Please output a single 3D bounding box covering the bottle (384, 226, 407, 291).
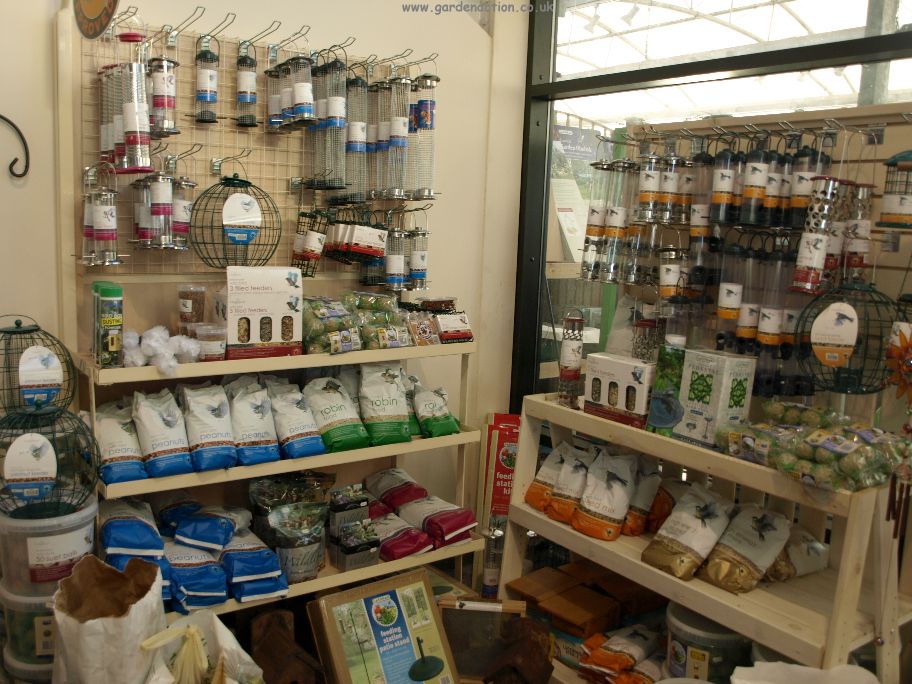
[{"bbox_3d":[-0.291,-0.397,3.388,0.118,0.283,0.111,2,10,0],"label":"bottle"}]

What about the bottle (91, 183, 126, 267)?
[{"bbox_3d":[-1.404,-0.452,2.798,0.136,0.280,0.127,0,11,0],"label":"bottle"}]

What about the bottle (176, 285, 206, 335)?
[{"bbox_3d":[-1.082,-0.146,2.933,0.133,0.153,0.130,0,2,31],"label":"bottle"}]

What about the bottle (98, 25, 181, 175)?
[{"bbox_3d":[-1.222,-0.956,2.801,0.345,0.573,0.405,-9,16,-29],"label":"bottle"}]

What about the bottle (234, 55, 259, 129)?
[{"bbox_3d":[-0.920,-1.115,3.110,0.117,0.269,0.105,4,20,-6],"label":"bottle"}]

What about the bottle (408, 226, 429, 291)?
[{"bbox_3d":[-0.188,-0.411,3.469,0.093,0.281,0.195,-2,14,-3],"label":"bottle"}]

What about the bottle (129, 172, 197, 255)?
[{"bbox_3d":[-1.177,-0.530,2.867,0.309,0.300,0.291,12,13,39],"label":"bottle"}]

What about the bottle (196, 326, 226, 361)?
[{"bbox_3d":[-0.967,-0.002,2.818,0.111,0.124,0.119,-6,15,-19],"label":"bottle"}]

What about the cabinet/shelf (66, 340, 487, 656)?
[{"bbox_3d":[-0.770,0.626,2.872,1.334,0.881,0.491,-5,15,-32],"label":"cabinet/shelf"}]

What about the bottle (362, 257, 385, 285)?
[{"bbox_3d":[-0.391,-0.341,3.395,0.125,0.126,0.120,-1,8,-24],"label":"bottle"}]

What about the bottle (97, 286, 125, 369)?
[{"bbox_3d":[-1.290,-0.067,2.649,0.112,0.298,0.111,-1,15,0],"label":"bottle"}]

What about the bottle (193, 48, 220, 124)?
[{"bbox_3d":[-1.062,-1.091,3.029,0.119,0.309,0.143,-5,15,-16],"label":"bottle"}]

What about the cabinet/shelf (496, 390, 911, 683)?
[{"bbox_3d":[0.995,0.349,2.627,0.956,0.909,1.516,0,7,-40],"label":"cabinet/shelf"}]
